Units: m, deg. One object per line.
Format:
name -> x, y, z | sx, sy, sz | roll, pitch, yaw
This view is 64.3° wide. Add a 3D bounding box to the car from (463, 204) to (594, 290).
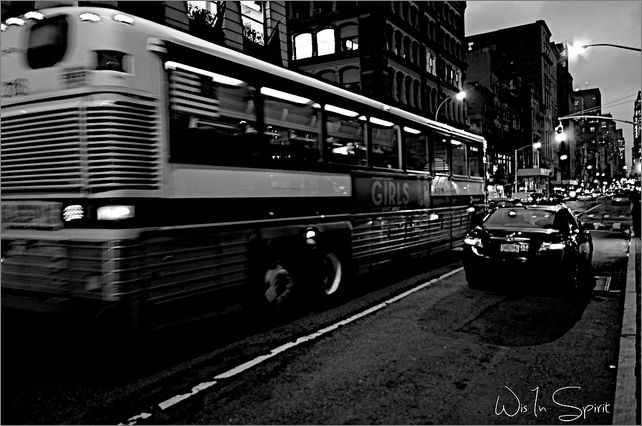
car -> 4.857, 0.635, 11.300 | 1.433, 1.052, 3.269 | -2, 2, 36
